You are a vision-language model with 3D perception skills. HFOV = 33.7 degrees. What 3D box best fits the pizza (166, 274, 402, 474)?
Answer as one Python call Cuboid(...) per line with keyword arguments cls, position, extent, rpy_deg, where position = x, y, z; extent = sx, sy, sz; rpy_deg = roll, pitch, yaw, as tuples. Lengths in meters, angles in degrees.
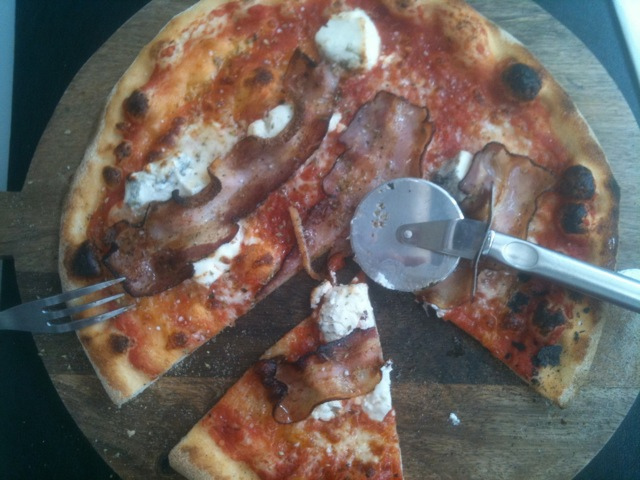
Cuboid(cls="pizza", position=(-0.114, 0.531, 3.759), extent=(0.801, 0.085, 0.729), rpy_deg=(-10, 84, -1))
